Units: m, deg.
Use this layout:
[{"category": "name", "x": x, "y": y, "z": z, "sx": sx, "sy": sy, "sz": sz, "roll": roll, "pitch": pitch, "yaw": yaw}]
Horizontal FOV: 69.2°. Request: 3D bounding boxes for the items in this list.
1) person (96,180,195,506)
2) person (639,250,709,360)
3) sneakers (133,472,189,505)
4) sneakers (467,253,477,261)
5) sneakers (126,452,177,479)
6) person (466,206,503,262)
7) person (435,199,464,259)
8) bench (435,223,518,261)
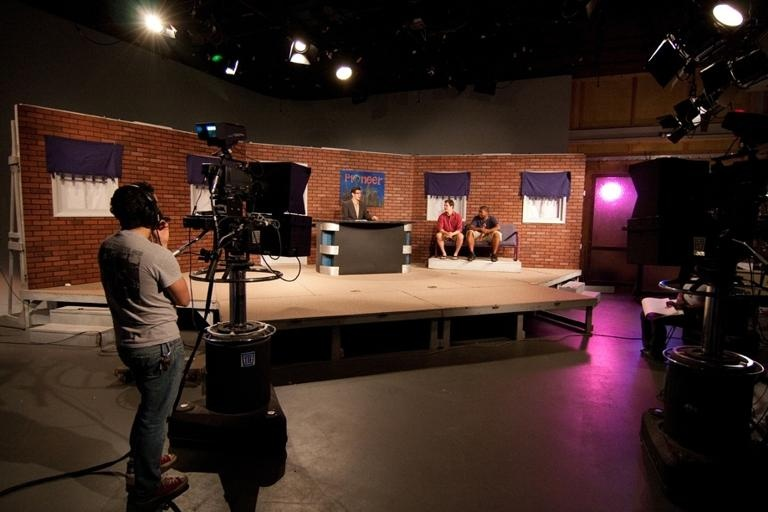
[{"category": "person", "x": -2.297, "y": 0.861, "z": 5.361, "sx": 0.762, "sy": 3.137, "sz": 0.477, "roll": 0, "pitch": 5, "yaw": -25}, {"category": "person", "x": 4.084, "y": 0.733, "z": 7.795, "sx": 0.796, "sy": 1.384, "sz": 0.663, "roll": 2, "pitch": 16, "yaw": 7}, {"category": "sneakers", "x": -2.131, "y": 2.237, "z": 5.395, "sx": 0.514, "sy": 0.224, "sz": 0.188, "roll": -1, "pitch": 6, "yaw": -42}, {"category": "sneakers", "x": 1.816, "y": 0.024, "z": 11.542, "sx": 0.089, "sy": 0.102, "sz": 0.247, "roll": -2, "pitch": -2, "yaw": 24}, {"category": "sneakers", "x": -2.300, "y": 2.052, "z": 5.592, "sx": 0.194, "sy": 0.236, "sz": 0.569, "roll": 2, "pitch": 5, "yaw": 11}, {"category": "person", "x": 2.084, "y": -0.495, "z": 11.642, "sx": 0.684, "sy": 1.119, "sz": 0.733, "roll": 3, "pitch": 4, "yaw": 13}, {"category": "person", "x": 1.422, "y": -0.602, "z": 11.895, "sx": 0.575, "sy": 1.210, "sz": 0.831, "roll": 2, "pitch": 4, "yaw": 7}, {"category": "bench", "x": 2.065, "y": -0.342, "z": 12.115, "sx": 1.676, "sy": 0.673, "sz": 0.579, "roll": 2, "pitch": 8, "yaw": 9}]
